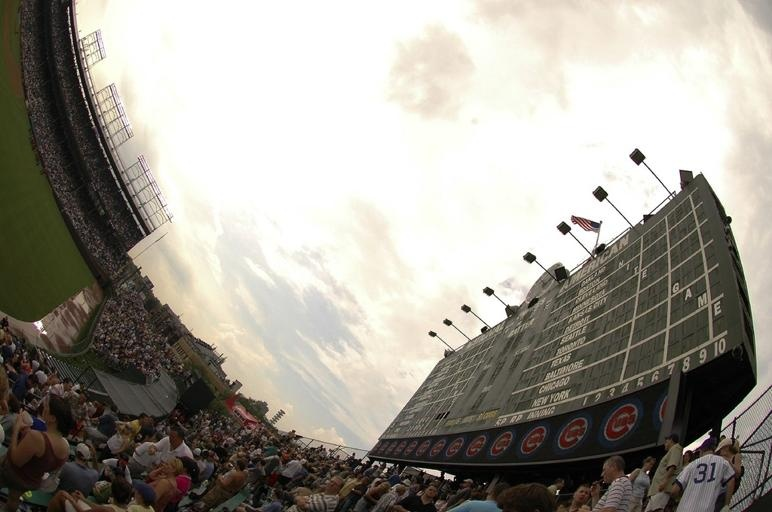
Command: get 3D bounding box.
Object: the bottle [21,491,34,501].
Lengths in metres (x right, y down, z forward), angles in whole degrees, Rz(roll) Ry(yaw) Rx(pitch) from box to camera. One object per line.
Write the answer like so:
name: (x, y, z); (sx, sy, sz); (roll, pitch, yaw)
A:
bottle: (-8.902, 6.024, 10.000); (0.304, 0.080, 0.304); (0, -23, 0)

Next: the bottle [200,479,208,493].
bottle: (-6.707, 8.576, 14.847); (0.213, 0.295, 0.317); (-1, -14, 40)
